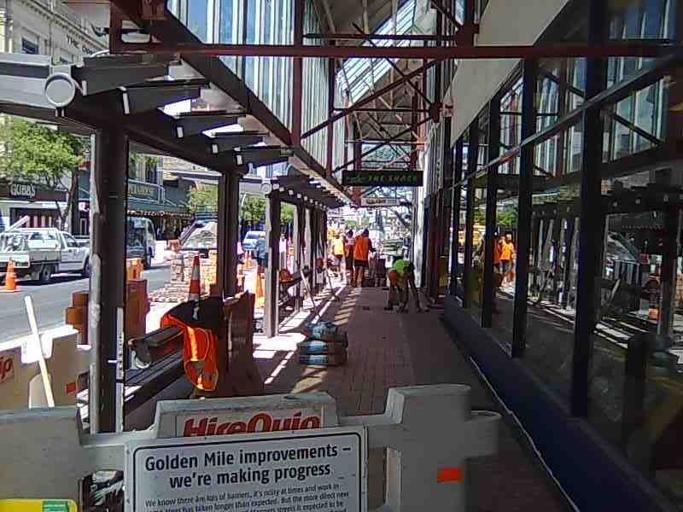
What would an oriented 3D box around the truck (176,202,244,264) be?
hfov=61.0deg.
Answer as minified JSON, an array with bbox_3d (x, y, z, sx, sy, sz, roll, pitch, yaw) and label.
[{"bbox_3d":[-4.869,-0.746,20.572,2.197,2.230,3.679,-1,-1,-5],"label":"truck"}]

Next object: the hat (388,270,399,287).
[{"bbox_3d":[1.287,0.538,14.123,0.214,0.478,0.535,1,4,5],"label":"hat"}]
